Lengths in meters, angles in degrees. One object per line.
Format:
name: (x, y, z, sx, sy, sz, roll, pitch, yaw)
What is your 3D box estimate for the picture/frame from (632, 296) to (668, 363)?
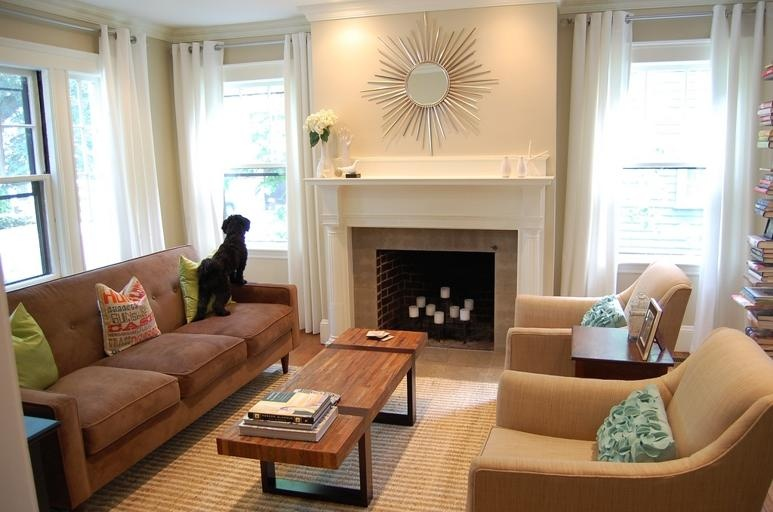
picture/frame: (1.633, 0.470, 3.503, 0.046, 0.322, 0.326, 11, 18, 24)

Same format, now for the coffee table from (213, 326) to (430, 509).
coffee table: (-0.329, 1.092, 3.763, 0.776, 0.746, 1.511, 3, 10, 19)

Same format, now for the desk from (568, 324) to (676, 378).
desk: (1.447, 0.594, 3.565, 0.408, 0.375, 0.399, 0, 17, 8)

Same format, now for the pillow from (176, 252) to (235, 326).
pillow: (-1.507, 0.298, 4.636, 0.147, 0.487, 0.427, -3, 7, 42)

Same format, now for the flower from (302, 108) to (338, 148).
flower: (-0.643, -1.192, 5.305, 0.361, 0.356, 0.347, -6, 12, -18)

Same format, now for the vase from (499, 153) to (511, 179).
vase: (1.049, -0.772, 4.908, 0.091, 0.183, 0.239, 2, 10, 12)

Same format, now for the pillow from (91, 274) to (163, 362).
pillow: (-1.921, 0.479, 4.129, 0.273, 0.497, 0.513, 6, 13, 18)

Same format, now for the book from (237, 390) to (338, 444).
book: (-0.548, 0.918, 3.200, 0.307, 0.078, 0.330, 2, 8, 17)

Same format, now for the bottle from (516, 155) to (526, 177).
bottle: (1.174, -0.764, 4.858, 0.087, 0.181, 0.205, 1, 10, 11)

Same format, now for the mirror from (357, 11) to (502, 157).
mirror: (0.440, -1.597, 5.088, 1.317, 1.303, 0.063, 3, 13, 17)

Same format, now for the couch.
couch: (-1.545, 0.833, 3.760, 0.701, 0.788, 1.545, 5, 14, 16)

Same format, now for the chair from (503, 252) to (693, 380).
chair: (1.519, 0.503, 4.136, 1.182, 1.017, 0.849, 2, 15, 16)
